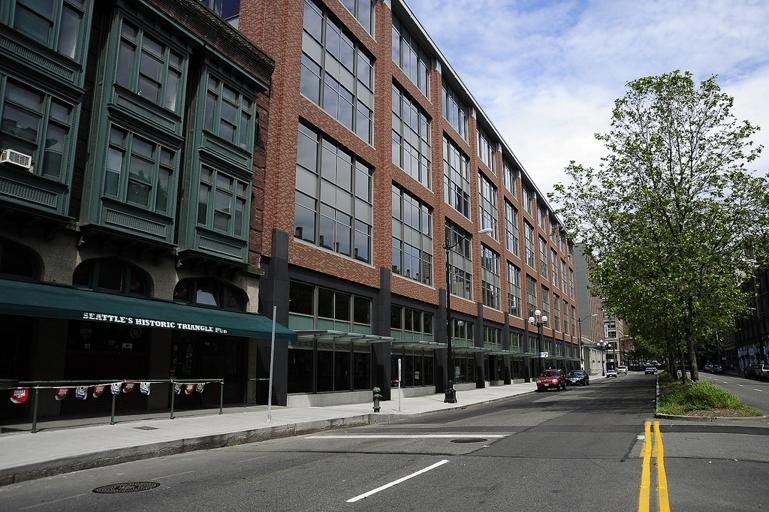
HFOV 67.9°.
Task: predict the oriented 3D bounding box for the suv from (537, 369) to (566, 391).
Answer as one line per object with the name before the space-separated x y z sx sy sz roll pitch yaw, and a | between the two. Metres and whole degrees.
suv | 14.141 10.560 47.944 1.350 1.312 3.005 -9 -25 23

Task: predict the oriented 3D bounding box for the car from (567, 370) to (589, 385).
car | 20.674 13.103 60.316 1.320 1.085 3.193 -8 -24 23
